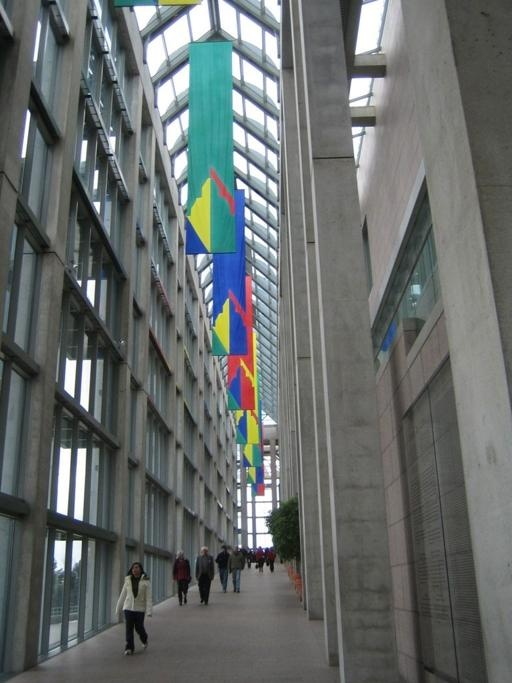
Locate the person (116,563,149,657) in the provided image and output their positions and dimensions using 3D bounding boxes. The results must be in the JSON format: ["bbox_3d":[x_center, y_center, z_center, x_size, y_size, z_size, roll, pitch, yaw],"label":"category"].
[{"bbox_3d":[-2.163,4.685,8.348,0.565,1.555,1.473,4,-25,-15],"label":"person"}]

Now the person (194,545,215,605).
[{"bbox_3d":[-1.555,7.241,14.391,0.333,1.594,0.464,-3,-35,0],"label":"person"}]
